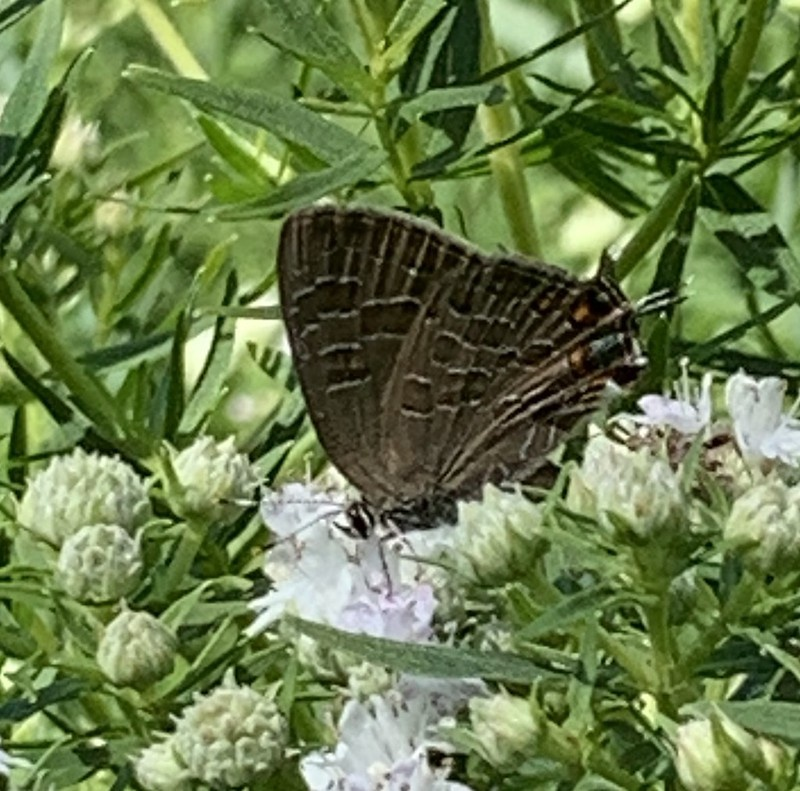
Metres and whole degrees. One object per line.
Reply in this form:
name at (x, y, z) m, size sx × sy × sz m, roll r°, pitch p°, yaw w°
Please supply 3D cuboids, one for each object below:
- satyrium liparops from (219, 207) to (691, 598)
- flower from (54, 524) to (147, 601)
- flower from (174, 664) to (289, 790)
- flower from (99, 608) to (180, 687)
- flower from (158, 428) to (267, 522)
satyrium liparops at (0.065, -0.010, 1.370) m, size 0.268 × 0.305 × 0.432 m, roll -11°, pitch 2°, yaw -11°
flower at (-0.222, 0.122, 1.196) m, size 0.060 × 0.066 × 0.026 m, roll 13°, pitch 10°, yaw -16°
flower at (-0.120, 0.236, 1.113) m, size 0.067 × 0.070 × 0.029 m, roll 0°, pitch -11°, yaw 11°
flower at (-0.191, 0.178, 1.176) m, size 0.055 × 0.019 × 0.060 m, roll -25°, pitch 55°, yaw -12°
flower at (-0.148, 0.067, 1.256) m, size 0.070 × 0.065 × 0.050 m, roll -17°, pitch 56°, yaw 13°
